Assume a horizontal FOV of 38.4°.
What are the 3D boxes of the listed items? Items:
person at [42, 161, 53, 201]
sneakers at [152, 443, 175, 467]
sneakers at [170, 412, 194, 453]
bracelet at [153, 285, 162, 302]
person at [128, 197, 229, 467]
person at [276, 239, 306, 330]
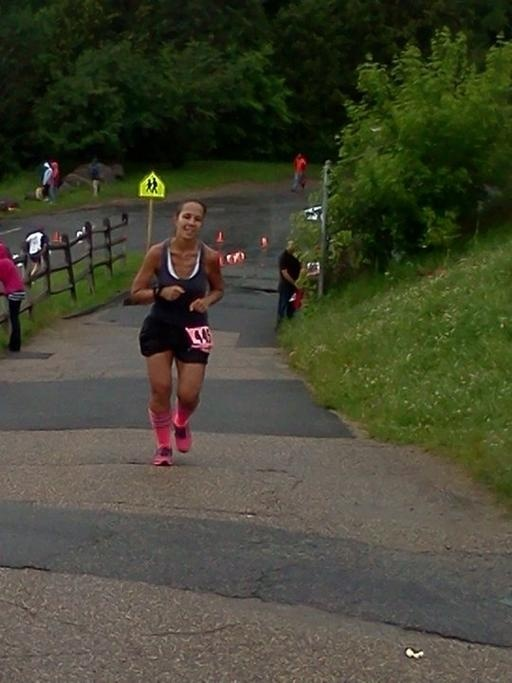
[{"bbox_3d":[-8.872,-6.891,31.236,0.439,1.559,1.369,1,8,-16],"label":"person"},{"bbox_3d":[-0.658,0.804,5.224,0.151,0.127,0.344,1,-7,-8],"label":"sneakers"},{"bbox_3d":[-0.531,0.651,5.277,0.133,0.323,0.146,-8,27,-8],"label":"sneakers"},{"bbox_3d":[-0.632,-0.322,4.715,0.067,0.078,0.048,1,10,2],"label":"bracelet"},{"bbox_3d":[-0.537,-0.024,4.956,0.531,1.840,0.622,4,8,8],"label":"person"},{"bbox_3d":[0.623,-1.089,13.657,0.431,1.565,0.982,3,8,0],"label":"person"}]
